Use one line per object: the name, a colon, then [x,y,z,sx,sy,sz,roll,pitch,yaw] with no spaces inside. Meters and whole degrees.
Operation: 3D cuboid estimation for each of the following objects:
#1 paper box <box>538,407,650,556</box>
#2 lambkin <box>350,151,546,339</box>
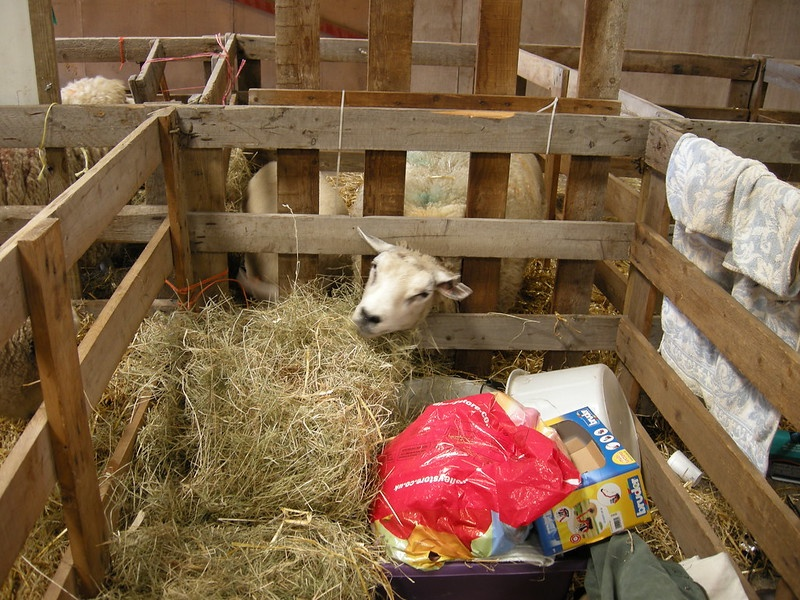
paper box: [0.771,0.773,2.764,0.479,0.363,0.491,-2,24,-10]
lambkin: [0.094,-0.125,3.900,0.762,1.197,1.688,21,34,9]
